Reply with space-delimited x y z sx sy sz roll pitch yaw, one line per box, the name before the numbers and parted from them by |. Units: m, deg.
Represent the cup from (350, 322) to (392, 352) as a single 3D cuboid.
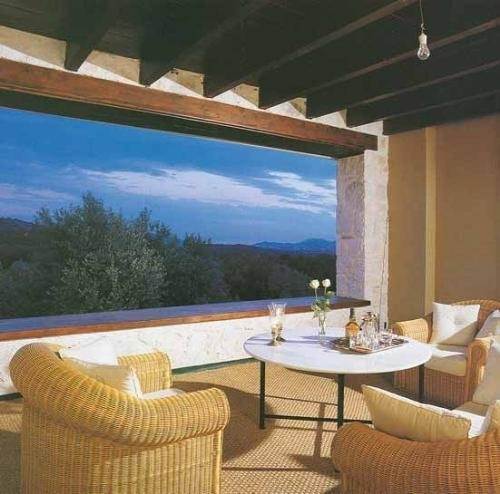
cup | 0.823 0.599 3.088 0.296 0.249 0.190 -3 -3 45
